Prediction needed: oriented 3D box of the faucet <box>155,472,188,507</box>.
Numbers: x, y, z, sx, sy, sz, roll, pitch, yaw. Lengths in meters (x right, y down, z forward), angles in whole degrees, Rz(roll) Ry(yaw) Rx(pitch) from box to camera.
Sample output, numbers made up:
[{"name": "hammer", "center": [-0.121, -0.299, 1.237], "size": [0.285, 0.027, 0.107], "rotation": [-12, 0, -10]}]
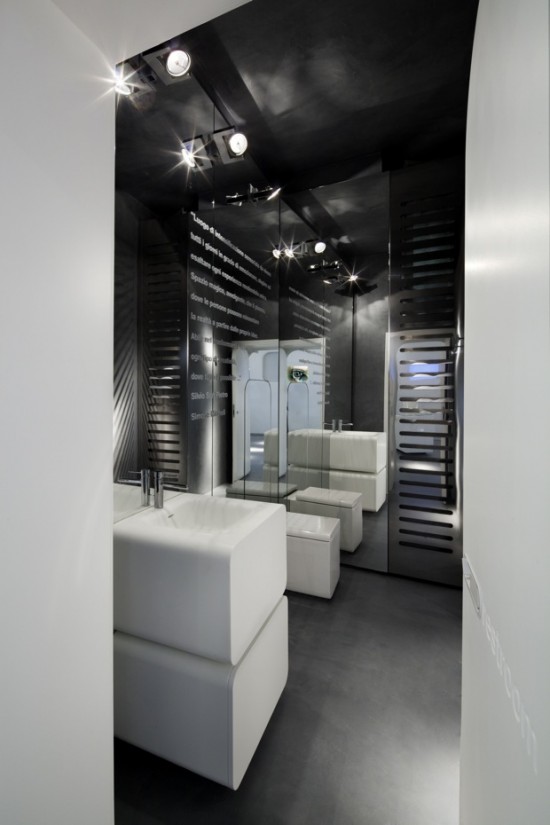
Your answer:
[{"name": "faucet", "center": [-0.370, 0.263, 1.953], "size": [0.073, 0.173, 0.083], "rotation": [0, 0, 7]}]

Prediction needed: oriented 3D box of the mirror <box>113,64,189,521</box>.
[{"name": "mirror", "center": [-0.422, -0.371, 1.839], "size": [0.173, 1.320, 0.432], "rotation": [0, 5, 3]}]

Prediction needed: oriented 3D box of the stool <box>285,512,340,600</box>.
[{"name": "stool", "center": [0.185, 0.754, 2.964], "size": [0.295, 0.346, 0.357], "rotation": [2, 6, 13]}]
